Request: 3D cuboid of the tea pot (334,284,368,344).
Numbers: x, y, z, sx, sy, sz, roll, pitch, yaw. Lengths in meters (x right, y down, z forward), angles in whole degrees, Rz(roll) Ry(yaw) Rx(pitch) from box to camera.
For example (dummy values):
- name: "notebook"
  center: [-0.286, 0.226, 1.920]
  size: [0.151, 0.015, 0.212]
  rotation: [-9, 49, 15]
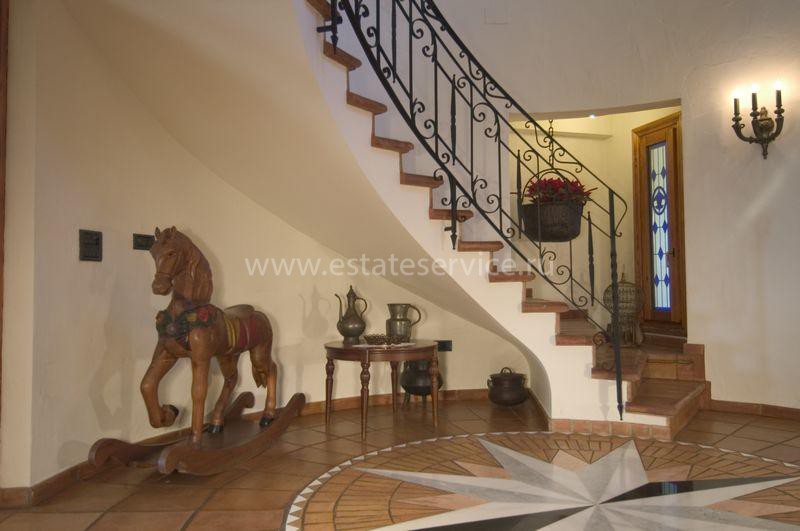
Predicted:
- name: "tea pot"
  center: [-0.477, 0.481, 6.554]
  size: [0.342, 0.540, 0.293]
  rotation: [2, 0, -1]

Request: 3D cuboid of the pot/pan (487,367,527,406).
- name: "pot/pan"
  center: [1.103, 1.217, 6.987]
  size: [0.378, 0.401, 0.383]
  rotation: [-1, 4, 1]

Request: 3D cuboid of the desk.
- name: "desk"
  center: [-0.158, 1.107, 6.496]
  size: [1.054, 0.896, 1.159]
  rotation: [-9, 13, -41]

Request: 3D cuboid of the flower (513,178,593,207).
- name: "flower"
  center: [1.539, -0.746, 6.697]
  size: [0.598, 0.275, 0.620]
  rotation: [2, 10, 12]

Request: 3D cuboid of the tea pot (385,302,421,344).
- name: "tea pot"
  center: [0.037, 0.565, 6.605]
  size: [0.351, 0.403, 0.229]
  rotation: [1, 1, 30]

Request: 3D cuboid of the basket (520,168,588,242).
- name: "basket"
  center: [1.557, -0.625, 7.015]
  size: [0.697, 0.866, 0.761]
  rotation: [-1, -3, -15]

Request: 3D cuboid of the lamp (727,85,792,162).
- name: "lamp"
  center: [3.489, -1.341, 6.594]
  size: [0.382, 0.693, 0.427]
  rotation: [-9, 3, -38]

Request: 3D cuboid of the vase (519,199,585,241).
- name: "vase"
  center: [1.581, -0.449, 6.998]
  size: [0.645, 0.450, 0.699]
  rotation: [-4, 6, 1]
